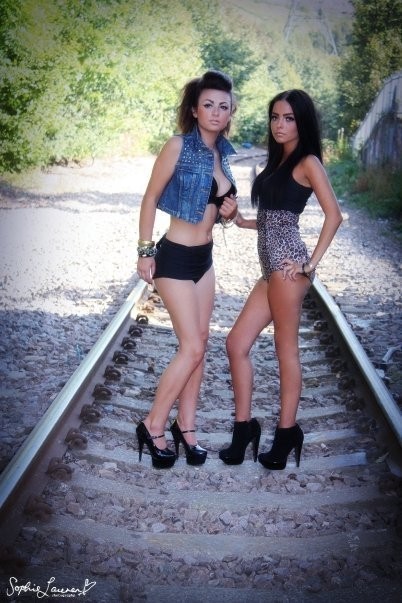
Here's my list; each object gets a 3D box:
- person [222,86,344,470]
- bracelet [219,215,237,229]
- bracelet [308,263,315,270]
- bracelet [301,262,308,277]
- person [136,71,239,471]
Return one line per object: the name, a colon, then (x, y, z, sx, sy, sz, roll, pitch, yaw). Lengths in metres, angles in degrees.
person: (0.414, -0.112, 2.456, 0.491, 1.857, 0.944, 9, 25, 9)
bracelet: (0.162, -0.445, 2.581, 0.105, 0.053, 0.078, -24, 22, -25)
bracelet: (0.547, -0.181, 2.342, 0.032, 0.032, 0.008, -15, 25, 31)
bracelet: (0.503, -0.160, 2.311, 0.022, 0.057, 0.043, 0, 21, 6)
person: (-0.095, -0.095, 2.443, 0.476, 2.053, 0.945, 5, 25, 2)
